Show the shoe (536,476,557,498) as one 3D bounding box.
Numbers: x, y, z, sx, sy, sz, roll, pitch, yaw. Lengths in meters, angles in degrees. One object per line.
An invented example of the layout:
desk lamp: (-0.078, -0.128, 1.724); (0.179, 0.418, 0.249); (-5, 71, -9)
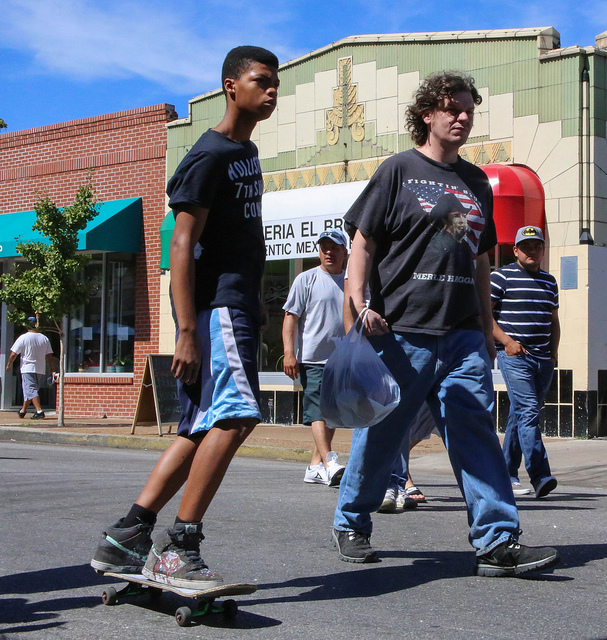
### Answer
shoe: (1.699, 1.150, 6.755); (0.082, 0.084, 0.184); (5, -45, -16)

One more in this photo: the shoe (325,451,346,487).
shoe: (0.233, 1.105, 7.202); (0.141, 0.206, 0.355); (-3, -9, -18)

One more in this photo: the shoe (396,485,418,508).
shoe: (0.678, 1.137, 6.299); (0.114, 0.161, 0.167); (-1, 1, 33)

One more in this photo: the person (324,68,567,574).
person: (0.639, -0.003, 4.246); (1.118, 2.129, 0.822); (-1, -4, 24)

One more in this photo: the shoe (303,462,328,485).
shoe: (0.121, 1.188, 7.510); (0.111, 0.157, 0.318); (-2, 1, -29)

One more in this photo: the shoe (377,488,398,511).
shoe: (0.556, 1.127, 6.098); (0.119, 0.156, 0.349); (3, -12, 11)

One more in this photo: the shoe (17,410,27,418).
shoe: (-4.691, 1.554, 16.020); (0.127, 0.152, 0.384); (12, -8, -9)

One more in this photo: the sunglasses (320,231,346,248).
sunglasses: (0.227, -0.586, 7.063); (0.081, 0.037, 0.120); (17, -8, 29)

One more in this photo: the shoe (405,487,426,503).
shoe: (0.750, 1.162, 6.430); (0.133, 0.110, 0.361); (1, -10, 0)

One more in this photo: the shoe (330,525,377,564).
shoe: (0.224, 1.024, 4.385); (0.094, 0.118, 0.241); (5, -4, -30)

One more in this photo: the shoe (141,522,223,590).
shoe: (-0.449, 0.831, 3.432); (0.369, 0.234, 0.135); (8, -5, 29)

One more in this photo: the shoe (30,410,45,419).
shoe: (-4.362, 1.554, 15.849); (0.334, 0.149, 0.120); (-3, -3, 36)

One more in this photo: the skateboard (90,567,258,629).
skateboard: (-0.520, 0.951, 3.553); (0.222, 0.135, 0.756); (7, -7, -39)
